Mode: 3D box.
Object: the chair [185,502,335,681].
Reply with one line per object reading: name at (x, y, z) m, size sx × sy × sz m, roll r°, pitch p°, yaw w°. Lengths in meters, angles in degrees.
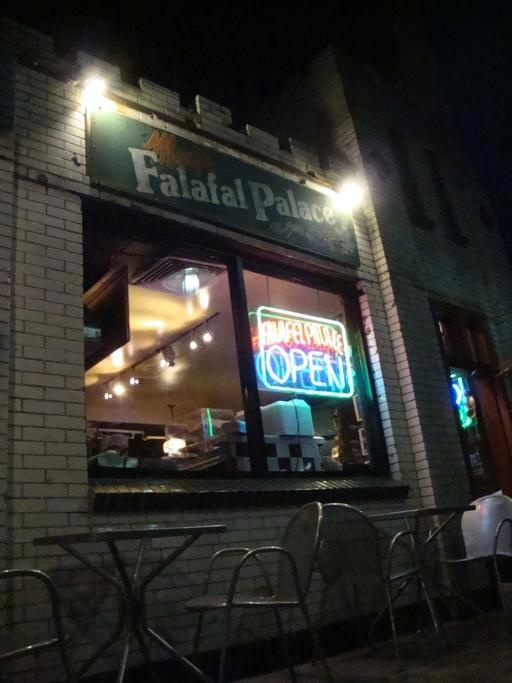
chair at (0.009, 1.614, 3.697) m, size 0.892 × 1.170 × 0.715 m, roll 16°, pitch -37°, yaw -17°
